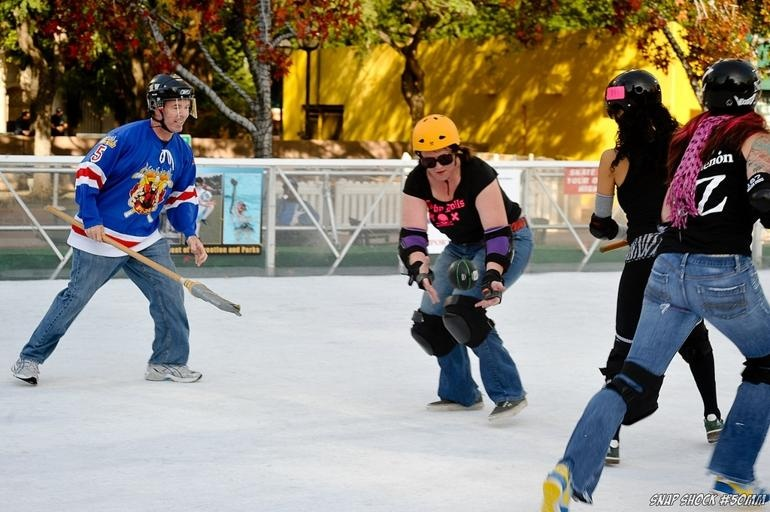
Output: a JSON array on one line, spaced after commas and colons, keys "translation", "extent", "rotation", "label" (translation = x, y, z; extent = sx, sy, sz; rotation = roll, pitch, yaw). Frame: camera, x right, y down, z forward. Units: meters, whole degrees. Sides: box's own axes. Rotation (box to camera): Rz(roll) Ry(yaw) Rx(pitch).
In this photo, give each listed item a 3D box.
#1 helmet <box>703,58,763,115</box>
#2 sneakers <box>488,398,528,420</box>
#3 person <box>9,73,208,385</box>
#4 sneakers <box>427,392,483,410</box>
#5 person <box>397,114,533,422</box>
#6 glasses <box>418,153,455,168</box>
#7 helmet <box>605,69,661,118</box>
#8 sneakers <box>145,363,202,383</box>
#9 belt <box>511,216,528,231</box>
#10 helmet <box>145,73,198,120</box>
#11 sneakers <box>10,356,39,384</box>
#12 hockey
[{"translation": [2.159, -1.080, 7.298], "extent": [0.402, 0.283, 0.328], "rotation": [-14, 23, -32], "label": "helmet"}, {"translation": [0.942, 1.172, 8.887], "extent": [0.317, 0.112, 0.119], "rotation": [-18, -18, -30], "label": "sneakers"}, {"translation": [-2.171, -0.225, 9.737], "extent": [1.528, 2.576, 0.691], "rotation": [-3, 12, -21], "label": "person"}, {"translation": [0.570, 1.163, 9.276], "extent": [0.455, 0.136, 0.140], "rotation": [4, -10, -10], "label": "sneakers"}, {"translation": [0.614, 0.101, 8.838], "extent": [1.025, 2.326, 0.756], "rotation": [2, 11, 5], "label": "person"}, {"translation": [0.401, -0.708, 8.602], "extent": [0.258, 0.118, 0.126], "rotation": [2, 10, 4], "label": "glasses"}, {"translation": [1.705, -1.158, 8.209], "extent": [0.398, 0.314, 0.290], "rotation": [-23, 19, 13], "label": "helmet"}, {"translation": [-1.785, 1.004, 9.934], "extent": [0.462, 0.174, 0.165], "rotation": [1, -1, -1], "label": "sneakers"}, {"translation": [1.051, -0.243, 9.018], "extent": [0.124, 0.029, 0.121], "rotation": [-30, 5, 1], "label": "belt"}, {"translation": [-1.757, -1.336, 9.689], "extent": [0.464, 0.362, 0.367], "rotation": [-4, 7, 2], "label": "helmet"}, {"translation": [-2.997, 0.963, 9.698], "extent": [0.147, 0.113, 0.328], "rotation": [-40, 26, -30], "label": "sneakers"}, {"translation": [-2.448, 0.053, 11.539], "extent": [2.666, 0.206, 0.272], "rotation": [24, 49, 15], "label": "hockey"}]
